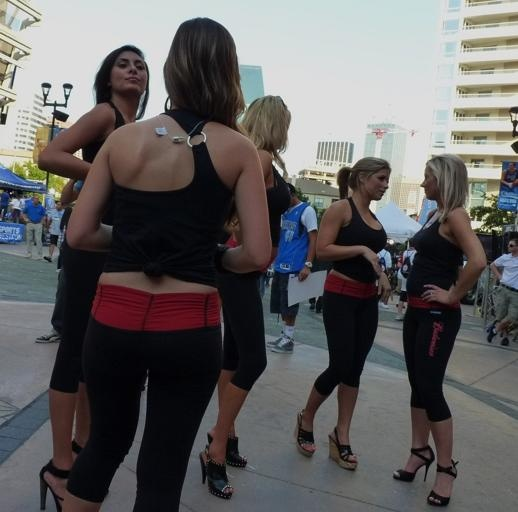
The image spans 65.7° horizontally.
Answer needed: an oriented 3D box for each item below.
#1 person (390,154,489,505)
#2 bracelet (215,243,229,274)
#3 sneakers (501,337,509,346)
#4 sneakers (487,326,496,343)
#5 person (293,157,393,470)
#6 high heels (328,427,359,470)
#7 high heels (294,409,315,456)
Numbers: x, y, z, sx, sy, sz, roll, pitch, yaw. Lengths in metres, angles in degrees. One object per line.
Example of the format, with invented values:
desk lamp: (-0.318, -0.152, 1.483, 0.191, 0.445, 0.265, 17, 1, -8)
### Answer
person: (1.185, 0.412, 2.666, 0.351, 2.109, 0.582, 6, -1, -15)
bracelet: (-0.115, 0.006, 1.193, 0.050, 0.073, 0.026, 0, -3, 3)
sneakers: (5.568, 1.973, 9.103, 0.145, 0.142, 0.181, -2, 0, 7)
sneakers: (5.327, 1.836, 9.230, 0.145, 0.458, 0.188, 11, -13, 14)
person: (0.664, 0.330, 3.033, 0.590, 2.199, 0.534, 6, -1, 18)
high heels: (0.553, 1.377, 2.837, 0.110, 0.137, 0.333, 0, 0, -20)
high heels: (0.333, 1.312, 2.957, 0.178, 0.314, 0.149, 6, -1, 25)
